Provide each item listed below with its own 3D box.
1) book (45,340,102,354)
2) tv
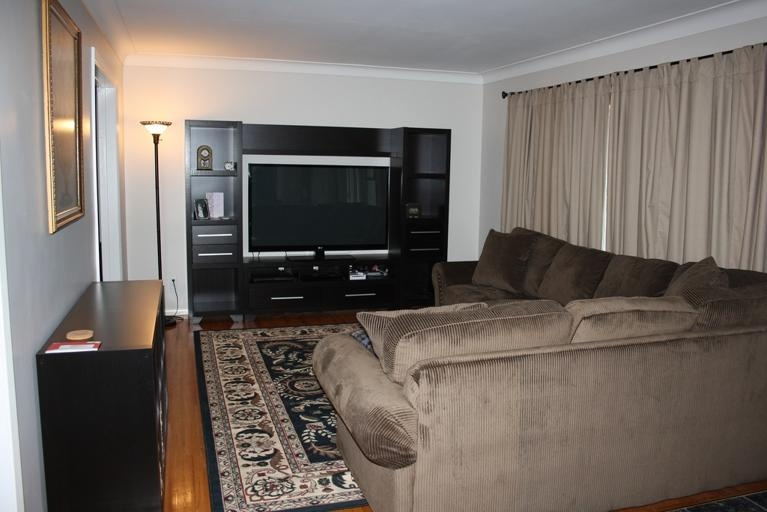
[{"bbox_3d":[-1.620,0.477,2.867,0.273,0.016,0.130,-1,14,-9],"label":"book"},{"bbox_3d":[-0.855,-0.546,6.308,1.289,0.866,0.046,-1,7,-12],"label":"tv"}]
